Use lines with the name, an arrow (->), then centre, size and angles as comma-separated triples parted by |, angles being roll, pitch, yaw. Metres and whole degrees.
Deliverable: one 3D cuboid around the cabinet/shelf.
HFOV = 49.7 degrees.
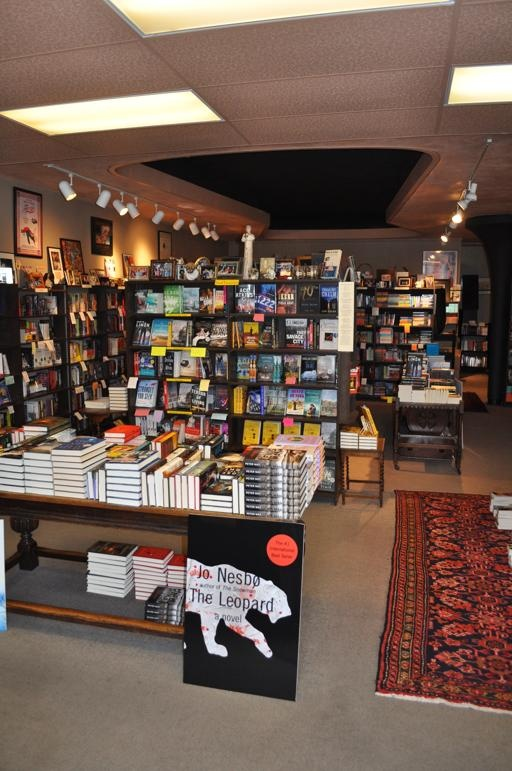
cabinet/shelf -> -0.171, -0.089, 5.641 | 3.322, 1.815, 2.410 | 1, 3, 17
